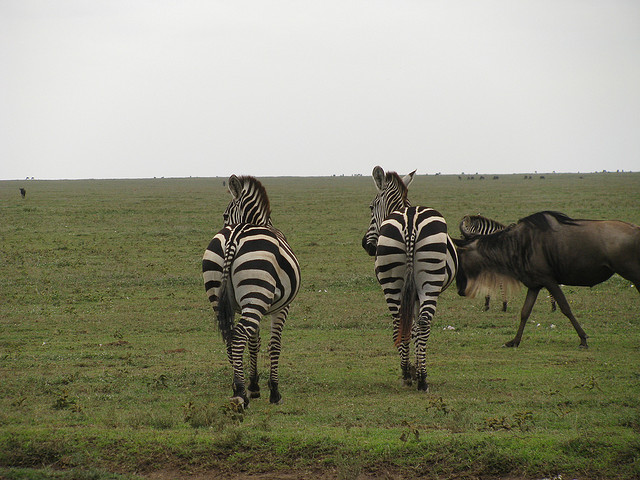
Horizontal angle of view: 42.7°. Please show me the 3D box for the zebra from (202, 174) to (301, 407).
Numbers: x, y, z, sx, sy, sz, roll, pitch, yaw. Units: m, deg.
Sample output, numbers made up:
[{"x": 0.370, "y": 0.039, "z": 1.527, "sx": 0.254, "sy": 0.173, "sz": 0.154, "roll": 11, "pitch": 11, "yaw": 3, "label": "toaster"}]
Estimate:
[{"x": -1.290, "y": 0.865, "z": 15.614, "sx": 1.729, "sy": 4.468, "sz": 1.391, "roll": -3, "pitch": -12, "yaw": -3, "label": "zebra"}]

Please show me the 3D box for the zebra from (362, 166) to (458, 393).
[{"x": 1.823, "y": 0.635, "z": 16.667, "sx": 1.480, "sy": 4.869, "sz": 2.082, "roll": -1, "pitch": -13, "yaw": -8, "label": "zebra"}]
